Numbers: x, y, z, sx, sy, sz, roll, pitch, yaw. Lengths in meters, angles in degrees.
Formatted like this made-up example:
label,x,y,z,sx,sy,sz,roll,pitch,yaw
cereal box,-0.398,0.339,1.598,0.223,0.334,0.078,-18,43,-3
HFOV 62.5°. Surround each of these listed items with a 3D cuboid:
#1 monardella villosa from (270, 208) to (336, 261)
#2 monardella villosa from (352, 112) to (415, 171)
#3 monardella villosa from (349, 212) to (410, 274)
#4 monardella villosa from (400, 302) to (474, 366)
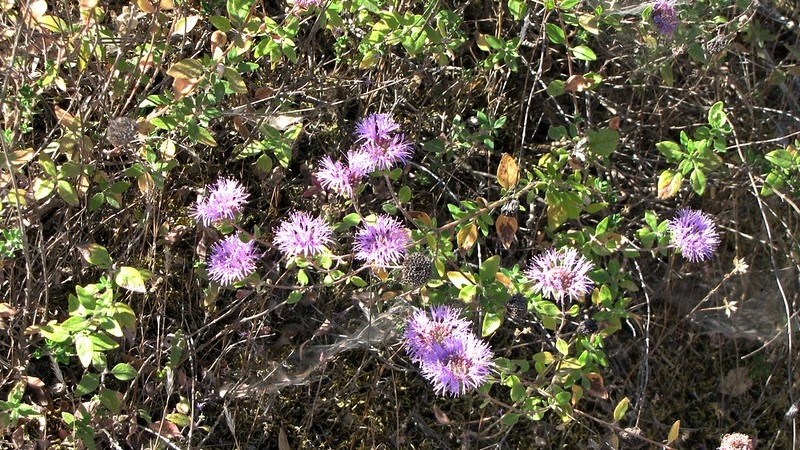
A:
label,x,y,z,sx,sy,sz,roll,pitch,yaw
monardella villosa,-0.470,0.050,3.328,0.244,0.153,0.252,8,98,3
monardella villosa,-0.092,-0.434,3.425,0.251,0.262,0.261,-32,75,8
monardella villosa,-0.081,0.109,3.277,0.282,0.288,0.205,-11,52,6
monardella villosa,0.148,0.487,3.235,0.304,0.135,0.309,-23,41,9
